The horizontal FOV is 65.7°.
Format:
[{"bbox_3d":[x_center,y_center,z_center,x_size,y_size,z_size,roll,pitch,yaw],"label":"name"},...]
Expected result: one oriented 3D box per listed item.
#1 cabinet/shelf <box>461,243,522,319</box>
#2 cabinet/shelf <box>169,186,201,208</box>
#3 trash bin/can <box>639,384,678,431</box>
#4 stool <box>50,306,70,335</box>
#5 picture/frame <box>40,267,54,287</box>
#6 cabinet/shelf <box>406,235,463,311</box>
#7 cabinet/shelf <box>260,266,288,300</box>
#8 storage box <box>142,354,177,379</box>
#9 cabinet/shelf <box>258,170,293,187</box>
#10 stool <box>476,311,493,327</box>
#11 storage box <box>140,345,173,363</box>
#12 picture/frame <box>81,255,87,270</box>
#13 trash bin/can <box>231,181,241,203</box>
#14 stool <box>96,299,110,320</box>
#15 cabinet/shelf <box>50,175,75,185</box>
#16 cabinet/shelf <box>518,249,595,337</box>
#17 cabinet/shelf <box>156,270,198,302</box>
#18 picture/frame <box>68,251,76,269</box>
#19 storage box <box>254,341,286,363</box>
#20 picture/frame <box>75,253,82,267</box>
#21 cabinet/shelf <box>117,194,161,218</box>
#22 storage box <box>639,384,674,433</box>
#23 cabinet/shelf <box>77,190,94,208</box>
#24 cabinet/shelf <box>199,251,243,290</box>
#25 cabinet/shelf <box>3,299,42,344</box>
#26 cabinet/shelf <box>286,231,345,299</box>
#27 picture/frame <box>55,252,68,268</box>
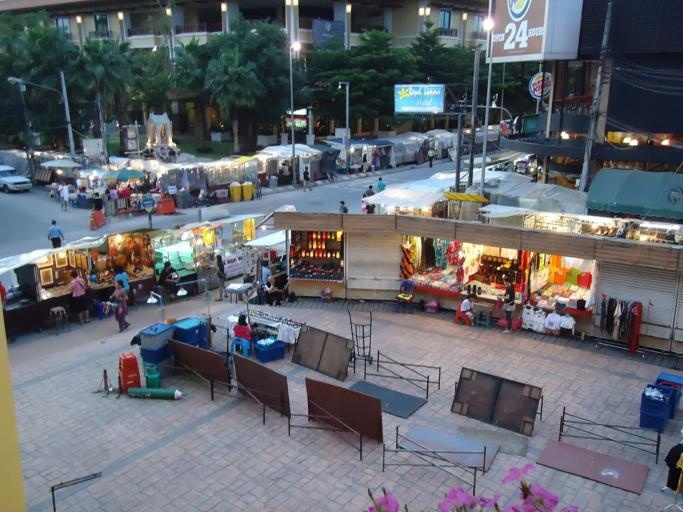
[{"bbox_3d":[5.071,0.690,17.904,2.021,2.405,1.251,5,16,21],"label":"cabinet/shelf"},{"bbox_3d":[-9.804,-3.643,33.757,1.309,1.049,1.360,-2,16,-3],"label":"cabinet/shelf"},{"bbox_3d":[7.403,3.467,12.500,0.770,1.108,1.448,6,12,36],"label":"trash bin/can"},{"bbox_3d":[-9.397,2.025,17.662,0.524,0.833,0.872,-10,18,-28],"label":"stool"},{"bbox_3d":[-10.149,0.696,18.230,0.042,0.625,0.538,5,11,27],"label":"picture/frame"},{"bbox_3d":[3.441,0.614,18.788,1.945,2.443,0.869,3,17,7],"label":"cabinet/shelf"},{"bbox_3d":[-2.644,0.864,20.067,1.094,1.530,1.541,3,13,-11],"label":"cabinet/shelf"},{"bbox_3d":[-4.972,2.988,14.486,0.611,0.407,0.635,3,4,32],"label":"storage box"},{"bbox_3d":[-5.018,-5.640,39.522,1.219,1.115,2.339,9,11,35],"label":"cabinet/shelf"},{"bbox_3d":[4.684,2.024,17.556,0.444,0.726,0.508,10,26,28],"label":"stool"},{"bbox_3d":[-5.044,2.635,14.496,0.529,0.362,0.545,10,15,37],"label":"storage box"},{"bbox_3d":[-9.104,0.233,18.820,0.283,0.504,0.037,-2,16,0],"label":"picture/frame"},{"bbox_3d":[-7.048,-4.192,35.447,0.976,1.257,1.015,0,2,-4],"label":"trash bin/can"},{"bbox_3d":[-8.382,1.889,18.624,0.433,0.728,0.474,13,22,25],"label":"stool"},{"bbox_3d":[-19.840,-5.359,37.874,1.225,0.322,1.192,7,11,13],"label":"cabinet/shelf"},{"bbox_3d":[7.085,0.988,17.416,2.274,2.443,2.496,6,18,26],"label":"cabinet/shelf"},{"bbox_3d":[-6.152,1.082,20.222,1.341,0.896,1.360,0,8,4],"label":"cabinet/shelf"},{"bbox_3d":[-9.500,0.132,18.736,0.236,0.625,0.095,-10,18,-26],"label":"picture/frame"},{"bbox_3d":[-2.010,2.662,15.259,0.727,0.376,0.565,-7,16,-28],"label":"storage box"},{"bbox_3d":[-9.304,0.154,18.785,0.248,0.537,0.022,-3,16,-5],"label":"picture/frame"},{"bbox_3d":[-12.152,-2.982,31.363,2.606,1.027,1.917,-1,13,4],"label":"cabinet/shelf"},{"bbox_3d":[7.368,3.557,12.359,0.410,0.798,0.777,5,13,31],"label":"storage box"},{"bbox_3d":[-16.121,-3.426,33.250,1.382,1.061,0.951,10,12,36],"label":"cabinet/shelf"},{"bbox_3d":[-4.779,0.571,22.075,1.889,1.904,1.034,-9,8,-22],"label":"cabinet/shelf"},{"bbox_3d":[-10.406,2.002,17.664,0.971,1.311,1.457,-13,19,-41],"label":"cabinet/shelf"},{"bbox_3d":[-0.926,0.333,19.493,2.229,3.032,1.494,-1,0,8],"label":"cabinet/shelf"},{"bbox_3d":[-9.802,0.122,18.525,0.038,0.543,0.449,18,24,41],"label":"picture/frame"}]
